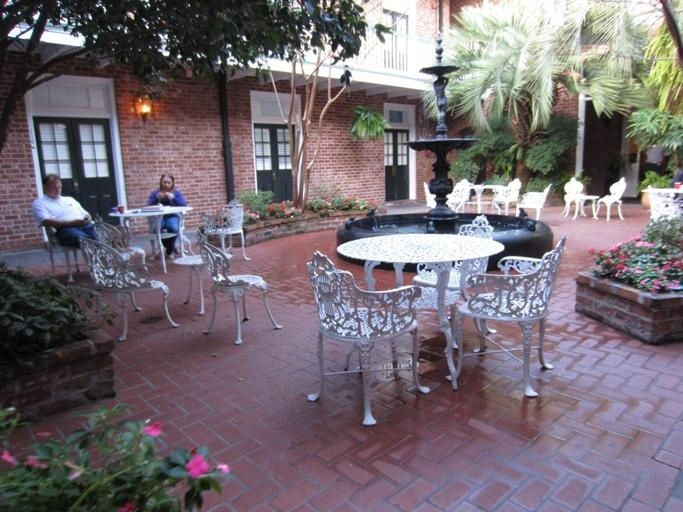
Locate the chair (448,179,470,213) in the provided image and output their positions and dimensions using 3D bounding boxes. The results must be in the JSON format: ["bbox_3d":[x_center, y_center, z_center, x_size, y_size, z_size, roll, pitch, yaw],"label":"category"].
[{"bbox_3d":[3.115,-1.567,12.657,0.592,0.885,1.812,0,11,14],"label":"chair"}]

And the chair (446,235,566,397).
[{"bbox_3d":[1.388,0.432,3.997,0.886,1.061,0.790,1,8,23],"label":"chair"}]

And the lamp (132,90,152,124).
[{"bbox_3d":[-4.011,-2.993,9.858,0.376,0.477,0.753,-8,13,-20],"label":"lamp"}]

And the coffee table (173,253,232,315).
[{"bbox_3d":[-1.848,0.319,6.195,0.588,0.354,0.540,-10,0,20],"label":"coffee table"}]

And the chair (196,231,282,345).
[{"bbox_3d":[-1.145,0.219,5.231,0.764,1.067,1.400,-6,12,-11],"label":"chair"}]

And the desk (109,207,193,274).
[{"bbox_3d":[-2.985,-0.329,7.979,1.021,0.629,0.992,-4,11,27],"label":"desk"}]

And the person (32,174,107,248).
[{"bbox_3d":[-4.097,-0.657,7.073,0.689,1.049,0.823,-11,15,-28],"label":"person"}]

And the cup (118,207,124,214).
[{"bbox_3d":[-3.290,-0.694,7.211,0.075,0.103,0.196,-10,13,-26],"label":"cup"}]

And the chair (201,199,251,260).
[{"bbox_3d":[-1.943,-0.475,7.920,0.874,0.926,0.844,-3,23,1],"label":"chair"}]

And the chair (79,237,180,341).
[{"bbox_3d":[-2.236,0.321,4.886,0.791,1.010,0.407,2,15,25],"label":"chair"}]

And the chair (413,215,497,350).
[{"bbox_3d":[0.964,0.183,4.896,1.064,1.122,1.087,4,12,41],"label":"chair"}]

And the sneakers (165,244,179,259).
[{"bbox_3d":[-2.949,-0.083,8.431,0.152,0.153,0.413,-3,-7,-17],"label":"sneakers"}]

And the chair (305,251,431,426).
[{"bbox_3d":[0.204,0.497,3.758,0.902,1.185,1.000,9,18,43],"label":"chair"}]
